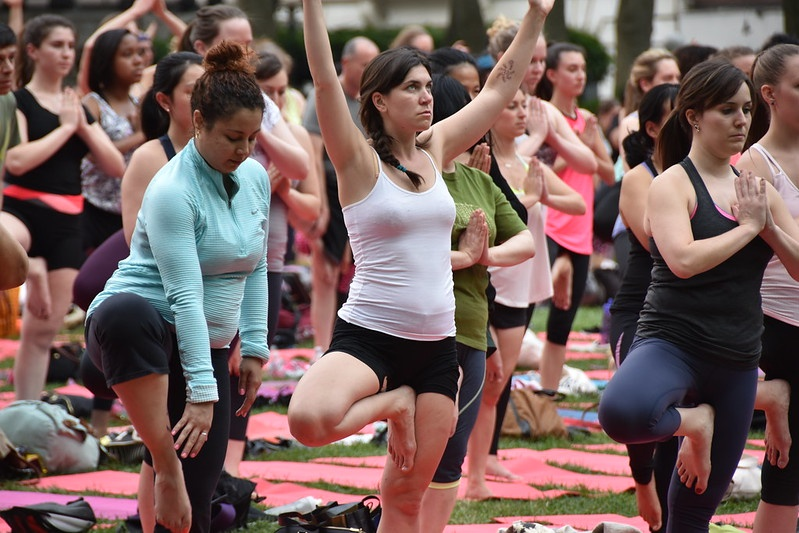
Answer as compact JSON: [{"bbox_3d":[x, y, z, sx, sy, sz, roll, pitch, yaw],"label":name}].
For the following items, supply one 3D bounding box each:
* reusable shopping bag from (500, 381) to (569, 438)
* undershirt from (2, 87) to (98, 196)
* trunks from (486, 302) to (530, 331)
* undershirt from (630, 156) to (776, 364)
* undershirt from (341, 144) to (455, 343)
[{"bbox_3d":[1.016,1.081,8.145,0.400,0.182,0.406,3,1,-3],"label":"reusable shopping bag"},{"bbox_3d":[-2.465,-0.873,7.402,0.423,0.775,0.788,-4,-3,34],"label":"undershirt"},{"bbox_3d":[0.715,0.334,6.998,0.298,0.221,0.176,2,-1,-20],"label":"trunks"},{"bbox_3d":[1.720,0.045,5.702,0.548,0.856,0.463,7,7,16],"label":"undershirt"},{"bbox_3d":[0.011,-0.137,5.577,0.637,1.057,0.529,4,-13,-24],"label":"undershirt"}]
